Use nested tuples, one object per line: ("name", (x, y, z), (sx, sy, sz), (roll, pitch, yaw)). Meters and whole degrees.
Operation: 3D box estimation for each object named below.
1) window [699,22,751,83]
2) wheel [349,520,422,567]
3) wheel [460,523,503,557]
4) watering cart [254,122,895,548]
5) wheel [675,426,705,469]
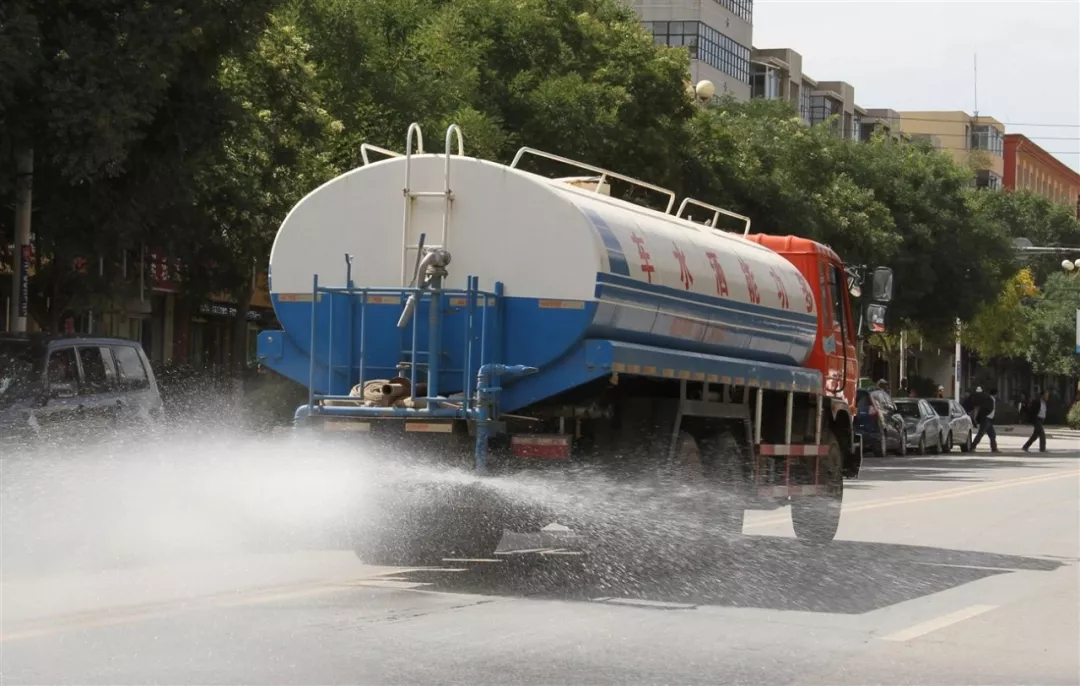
("window", (10.286, -15.281, 67.557), (0.123, 2.237, 9.596), (-12, -1, 27))
("wheel", (-1.659, 2.215, 13.574), (0.646, 0.255, 0.493), (7, 0, 40))
("wheel", (-0.586, 2.147, 13.580), (0.209, 0.357, 0.724), (4, 3, 14))
("watering cart", (0.585, -0.081, 16.194), (4.328, 4.459, 8.207), (1, -3, 36))
("wheel", (1.724, 1.205, 14.483), (0.363, 0.530, 1.689), (-1, -6, 12))
